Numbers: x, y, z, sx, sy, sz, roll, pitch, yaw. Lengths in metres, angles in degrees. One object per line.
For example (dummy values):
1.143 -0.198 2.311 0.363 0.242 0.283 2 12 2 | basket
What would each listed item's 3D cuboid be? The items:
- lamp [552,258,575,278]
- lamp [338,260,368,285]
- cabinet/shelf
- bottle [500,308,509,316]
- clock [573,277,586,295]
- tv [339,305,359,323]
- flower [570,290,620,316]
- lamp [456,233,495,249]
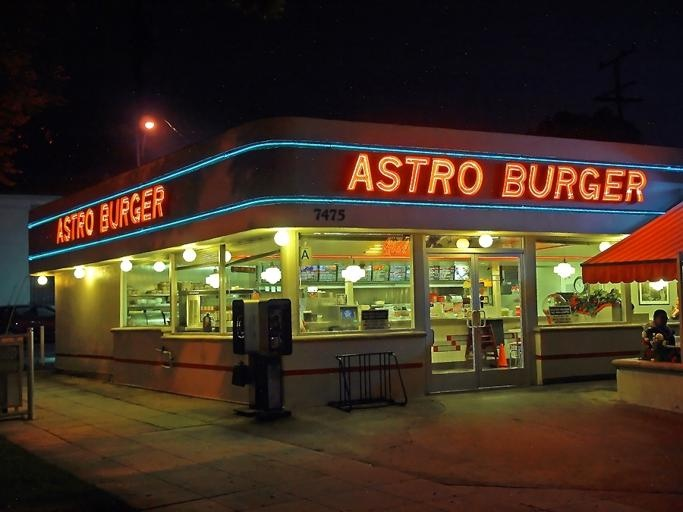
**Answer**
5.749 0.327 14.875 0.456 0.462 0.103 5 -9 -12 | lamp
0.306 0.376 13.576 0.291 0.554 0.631 -4 -4 35 | lamp
-4.463 1.436 16.046 1.001 1.105 5.756 1 -4 -40 | cabinet/shelf
4.032 1.390 14.243 0.182 0.175 0.186 -1 -2 7 | bottle
6.130 0.764 14.914 0.437 0.437 0.104 -7 6 -28 | clock
0.190 1.308 12.918 0.431 0.368 0.087 0 -4 -22 | tv
6.566 1.195 15.008 0.870 0.606 0.822 1 -10 -5 | flower
3.227 -0.325 13.874 0.856 0.365 0.324 -7 -33 13 | lamp
